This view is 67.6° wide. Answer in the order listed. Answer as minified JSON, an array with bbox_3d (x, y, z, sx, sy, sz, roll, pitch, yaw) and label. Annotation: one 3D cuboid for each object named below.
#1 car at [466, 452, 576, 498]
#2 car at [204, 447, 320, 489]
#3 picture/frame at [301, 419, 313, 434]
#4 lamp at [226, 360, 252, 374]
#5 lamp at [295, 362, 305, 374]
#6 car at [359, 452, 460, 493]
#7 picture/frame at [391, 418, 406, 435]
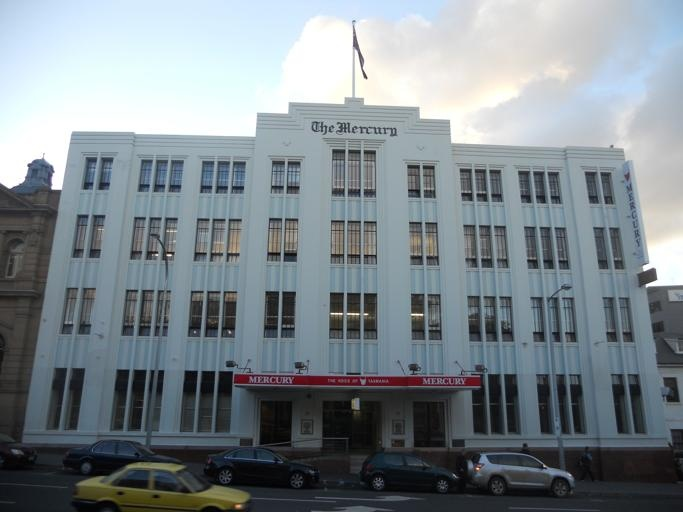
[{"bbox_3d":[8.782,10.731,25.594,4.970,1.829,2.108,0,-16,-3],"label":"car"},{"bbox_3d":[-3.713,10.185,24.569,5.245,1.522,2.088,1,-16,-1],"label":"car"},{"bbox_3d":[-2.183,10.457,31.371,1.015,1.050,0.110,1,-22,-3],"label":"picture/frame"},{"bbox_3d":[-6.386,6.781,31.387,1.518,0.826,0.789,6,-17,-20],"label":"lamp"},{"bbox_3d":[-2.534,6.779,31.178,0.736,0.793,0.801,0,-36,-1],"label":"lamp"},{"bbox_3d":[3.230,10.744,25.316,4.360,1.556,2.063,0,-19,-2],"label":"car"},{"bbox_3d":[3.479,10.526,31.540,1.061,1.089,0.117,2,-19,-2],"label":"picture/frame"}]
